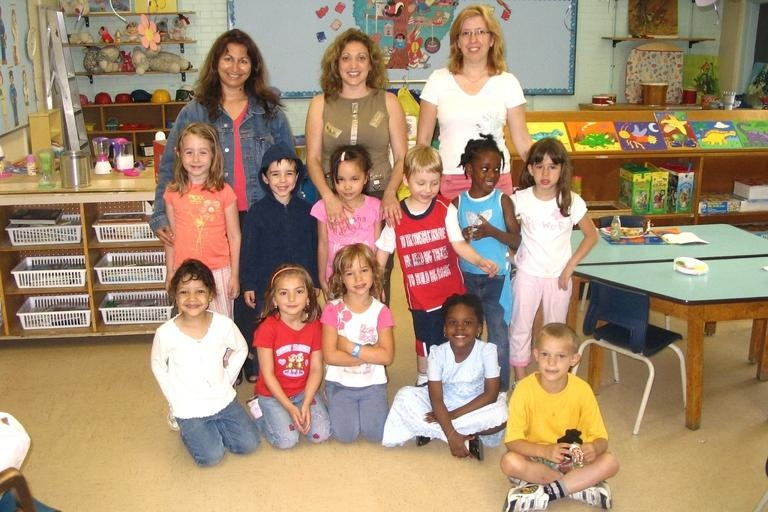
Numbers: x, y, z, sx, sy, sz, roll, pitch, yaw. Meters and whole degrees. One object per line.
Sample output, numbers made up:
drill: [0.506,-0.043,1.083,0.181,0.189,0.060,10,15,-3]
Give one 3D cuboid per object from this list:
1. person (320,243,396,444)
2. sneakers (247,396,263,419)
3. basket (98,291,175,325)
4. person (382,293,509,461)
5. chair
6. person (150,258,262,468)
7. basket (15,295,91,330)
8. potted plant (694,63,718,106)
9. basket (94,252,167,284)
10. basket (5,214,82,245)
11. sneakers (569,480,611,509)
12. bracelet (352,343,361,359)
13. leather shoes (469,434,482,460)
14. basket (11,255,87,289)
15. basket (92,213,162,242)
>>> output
person: [-0.165,0.533,3.687,0.456,1.208,0.313,-6,16,-4]
sneakers: [-0.793,0.927,3.762,0.100,0.123,0.038,-13,-1,-7]
basket: [-1.965,0.392,4.838,0.462,0.137,0.281,-2,28,-8]
person: [0.373,0.698,3.695,0.788,0.833,0.614,-2,5,10]
chair: [1.523,0.621,3.935,0.692,0.793,0.667,10,0,-5]
person: [-1.066,0.616,3.587,0.542,1.168,0.385,-11,17,-22]
basket: [-2.599,0.437,4.815,0.479,0.144,0.292,0,18,-11]
potted plant: [4.595,-2.504,8.717,0.310,0.588,0.526,3,17,26]
basket: [-1.977,0.083,4.784,0.450,0.135,0.272,0,26,-6]
basket: [-2.583,-0.215,4.708,0.381,0.110,0.253,-1,9,-7]
sneakers: [1.136,1.282,3.306,0.221,0.108,0.098,-1,19,31]
bracelet: [-0.162,0.560,3.609,0.056,0.071,0.023,7,-4,26]
leather shoes: [0.536,1.124,3.581,0.082,0.145,0.050,-3,16,5]
basket: [-2.597,0.121,4.758,0.464,0.137,0.283,0,18,-8]
basket: [-2.017,-0.206,4.778,0.427,0.126,0.282,-1,21,-9]
